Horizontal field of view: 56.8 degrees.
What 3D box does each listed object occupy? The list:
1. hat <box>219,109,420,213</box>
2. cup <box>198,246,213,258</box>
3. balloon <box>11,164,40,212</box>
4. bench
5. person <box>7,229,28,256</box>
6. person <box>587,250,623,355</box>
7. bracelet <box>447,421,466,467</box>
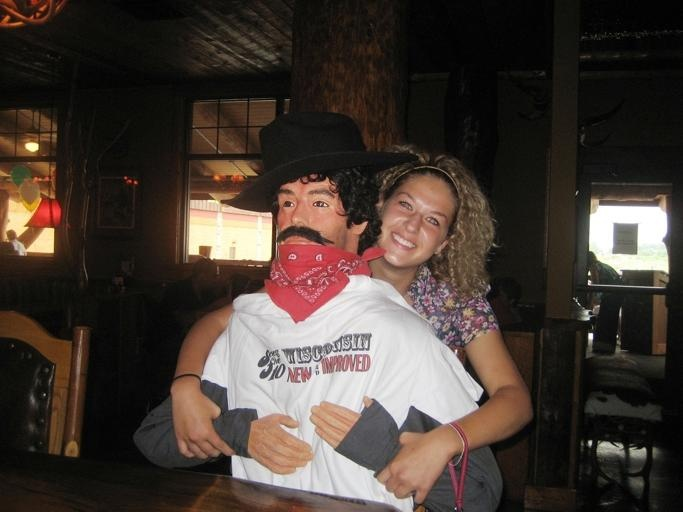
[{"bbox_3d":[-0.188,-0.583,3.467,1.034,0.408,0.903,-12,7,-2],"label":"hat"},{"bbox_3d":[-1.961,-0.084,9.169,0.230,0.268,0.224,1,4,0],"label":"cup"},{"bbox_3d":[-4.338,-0.975,8.666,0.291,0.277,0.837,-14,22,-11],"label":"balloon"},{"bbox_3d":[2.290,1.383,5.182,0.399,0.562,1.073,0,-4,17],"label":"bench"},{"bbox_3d":[-5.102,-0.206,9.903,0.290,0.434,0.862,4,-4,-28],"label":"person"},{"bbox_3d":[2.787,0.496,6.657,0.318,1.036,0.611,0,-4,24],"label":"person"},{"bbox_3d":[0.553,0.893,2.984,0.081,0.193,0.049,3,-4,-22],"label":"bracelet"}]
